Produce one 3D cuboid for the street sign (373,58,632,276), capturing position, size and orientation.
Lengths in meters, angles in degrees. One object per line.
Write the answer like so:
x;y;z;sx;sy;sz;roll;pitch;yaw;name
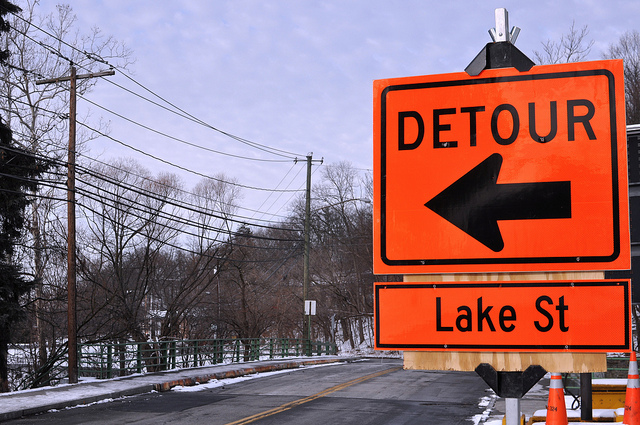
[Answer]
2.165;-0.456;8.952;2.349;2.031;0.108;-1;-2;9;street sign
